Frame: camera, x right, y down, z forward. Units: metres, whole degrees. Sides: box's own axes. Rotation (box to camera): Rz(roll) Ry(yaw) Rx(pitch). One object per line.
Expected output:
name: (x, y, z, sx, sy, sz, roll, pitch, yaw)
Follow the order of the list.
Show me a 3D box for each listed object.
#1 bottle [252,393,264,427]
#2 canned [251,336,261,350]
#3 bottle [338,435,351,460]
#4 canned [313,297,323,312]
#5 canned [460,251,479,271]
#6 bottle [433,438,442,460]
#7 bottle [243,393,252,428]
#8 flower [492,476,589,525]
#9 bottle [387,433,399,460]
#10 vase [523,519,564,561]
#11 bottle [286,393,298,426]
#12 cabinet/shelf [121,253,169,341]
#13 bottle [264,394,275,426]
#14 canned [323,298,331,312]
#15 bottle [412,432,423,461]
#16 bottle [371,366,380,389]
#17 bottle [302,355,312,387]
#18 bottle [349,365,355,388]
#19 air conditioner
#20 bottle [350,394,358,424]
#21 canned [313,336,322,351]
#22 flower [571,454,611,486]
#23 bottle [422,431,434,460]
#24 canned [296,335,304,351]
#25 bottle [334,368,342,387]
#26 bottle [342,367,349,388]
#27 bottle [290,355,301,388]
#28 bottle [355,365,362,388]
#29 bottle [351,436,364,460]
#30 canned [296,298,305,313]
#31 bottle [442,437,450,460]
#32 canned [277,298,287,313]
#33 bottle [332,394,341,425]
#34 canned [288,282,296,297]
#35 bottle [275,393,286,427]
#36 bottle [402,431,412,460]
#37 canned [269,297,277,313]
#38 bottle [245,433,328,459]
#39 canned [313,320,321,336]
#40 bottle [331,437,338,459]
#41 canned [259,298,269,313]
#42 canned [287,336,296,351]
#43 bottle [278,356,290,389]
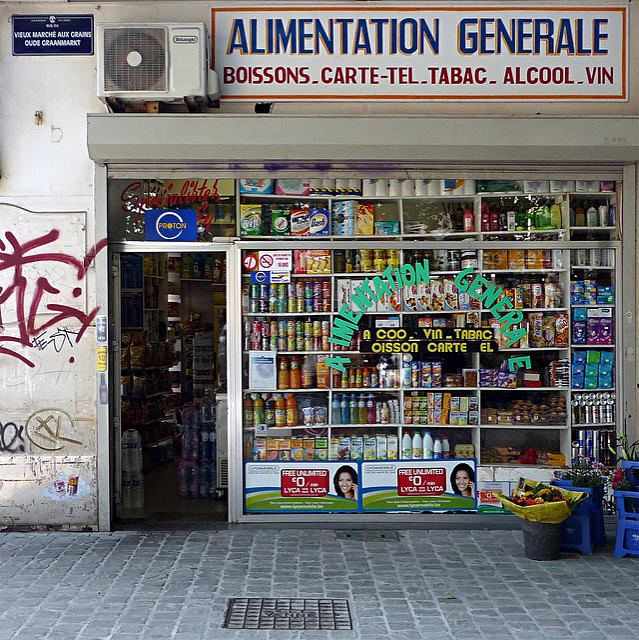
bottle: (-0.518, 0.774, 7.532, 0.093, 0.263, 0.061, -1, 7, -4)
canned: (-0.542, 0.200, 7.551, 0.104, 0.173, 0.094, 0, -8, -3)
bottle: (0.221, 1.093, 7.530, 0.103, 0.193, 0.069, -1, 7, 1)
canned: (-0.015, -0.124, 7.502, 0.105, 0.114, 0.104, 1, -1, -6)
canned: (1.290, -0.508, 7.647, 0.153, 0.161, 0.152, 1, 1, -3)
bottle: (1.014, 1.108, 7.542, 0.082, 0.156, 0.064, -1, 7, 0)
bottle: (-0.605, 0.780, 7.537, 0.096, 0.276, 0.051, -2, 7, -7)
flower: (1.710, 1.433, 6.738, 0.540, 0.309, 0.552, 5, 10, 35)
bottle: (0.629, 1.092, 7.538, 0.102, 0.190, 0.068, 0, 7, 3)
vase: (1.697, 1.667, 6.738, 0.328, 0.286, 0.360, 2, -6, -8)
bottle: (-0.234, 0.770, 7.550, 0.104, 0.274, 0.062, -1, 7, -5)
cabinet/shelf: (-1.879, -0.294, 9.442, 0.606, 0.850, 0.742, -4, 17, -19)
bottle: (-0.423, 0.773, 7.537, 0.091, 0.270, 0.056, -2, 7, -8)
canned: (0.061, -0.124, 7.566, 0.111, 0.122, 0.082, 0, -3, -2)
bottle: (0.842, 1.078, 7.529, 0.080, 0.209, 0.058, 0, 7, 6)
bottle: (0.480, 0.500, 7.561, 0.061, 0.163, 0.029, -1, 7, 0)
bottle: (-0.096, 0.448, 7.559, 0.126, 0.262, 0.049, -1, 7, -1)
bottle: (0.286, 0.493, 7.552, 0.061, 0.173, 0.029, -1, 7, 0)
air conditioner: (-1.286, -2.034, 7.287, 0.974, 0.653, 0.575, 0, -2, 5)
bottle: (0.293, 0.771, 7.562, 0.071, 0.238, 0.036, -1, 7, -4)
canned: (-0.018, 0.210, 7.574, 0.091, 0.131, 0.092, -2, -8, 22)
flower: (2.176, 1.220, 7.113, 0.238, 0.179, 0.262, 1, -1, 0)
bottle: (0.933, 1.076, 7.536, 0.095, 0.221, 0.064, -1, 7, 1)
canned: (-0.162, 0.213, 7.651, 0.097, 0.161, 0.097, 1, -4, 2)
bottle: (0.157, 0.509, 7.548, 0.082, 0.143, 0.018, -1, 6, -1)
bottle: (0.210, 0.496, 7.551, 0.112, 0.168, 0.028, -1, 7, 1)
bottle: (-0.209, 0.455, 7.550, 0.094, 0.266, 0.057, -1, 7, -2)
bottle: (0.340, 0.493, 7.556, 0.061, 0.172, 0.034, -1, 7, 0)
bottle: (0.325, 1.098, 7.526, 0.109, 0.182, 0.068, -1, 7, 1)
canned: (-0.163, -0.116, 7.629, 0.091, 0.144, 0.094, 1, -3, 4)
bottle: (1.091, 1.102, 7.546, 0.081, 0.164, 0.061, 0, 7, 5)
canned: (-0.321, -0.113, 7.554, 0.098, 0.152, 0.093, 0, -5, 8)
bottle: (0.146, 0.767, 7.558, 0.082, 0.248, 0.043, -1, 7, 0)
canned: (-0.242, -0.265, 7.563, 0.092, 0.145, 0.091, 1, -5, -4)
bottle: (-0.327, 0.778, 7.539, 0.091, 0.259, 0.058, -1, 7, -1)
bottle: (0.751, 1.077, 7.530, 0.091, 0.208, 0.062, 0, 7, 5)
canned: (-0.396, -0.114, 7.548, 0.100, 0.155, 0.100, 1, -4, 0)
bottle: (-0.279, 1.096, 7.523, 0.694, 0.185, 0.084, 0, 7, 1)
canned: (-0.021, 0.073, 7.490, 0.097, 0.158, 0.096, 1, -3, -4)
bottle: (0.127, 1.098, 7.526, 0.078, 0.166, 0.049, -1, 7, -5)
canned: (-0.471, -0.118, 7.628, 0.092, 0.170, 0.092, 1, -7, 3)
canned: (-0.243, 0.218, 7.569, 0.092, 0.130, 0.091, 1, -7, 1)
bottle: (-0.305, 0.455, 7.546, 0.094, 0.265, 0.057, -1, 7, -3)
